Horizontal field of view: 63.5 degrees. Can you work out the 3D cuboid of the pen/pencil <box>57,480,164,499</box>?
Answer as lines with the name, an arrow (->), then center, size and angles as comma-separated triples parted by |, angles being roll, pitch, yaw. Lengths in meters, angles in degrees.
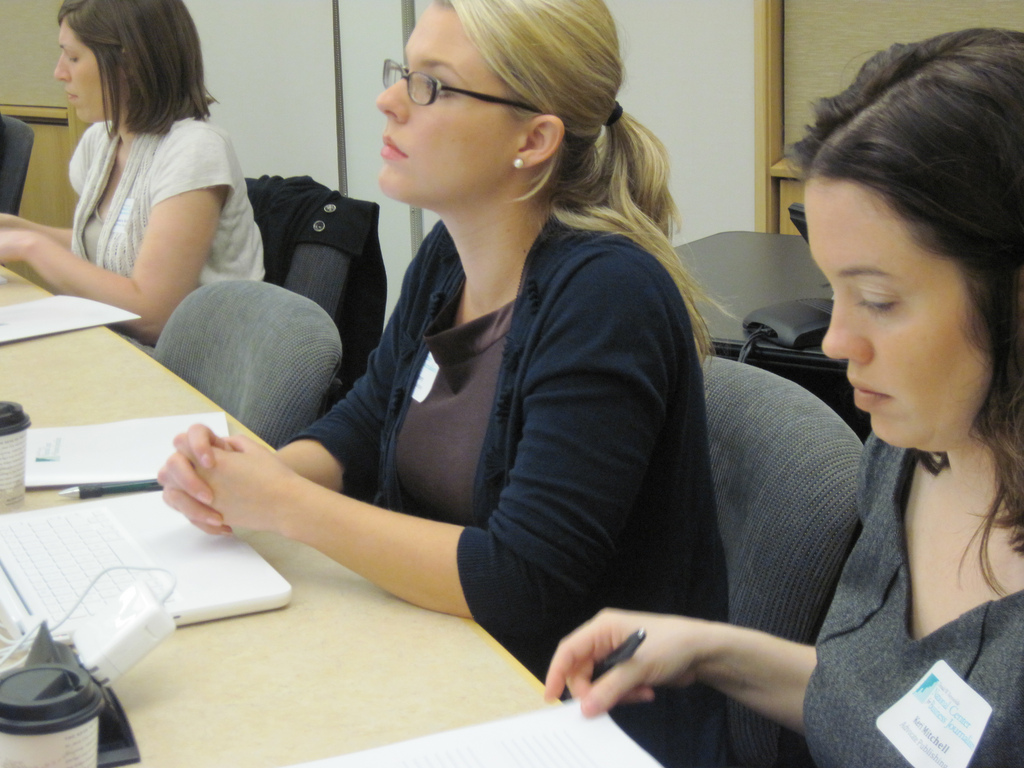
pen/pencil -> -0.582, 0.154, 1.212 | 0.144, 0.024, 0.024 | -4, 7, -20
